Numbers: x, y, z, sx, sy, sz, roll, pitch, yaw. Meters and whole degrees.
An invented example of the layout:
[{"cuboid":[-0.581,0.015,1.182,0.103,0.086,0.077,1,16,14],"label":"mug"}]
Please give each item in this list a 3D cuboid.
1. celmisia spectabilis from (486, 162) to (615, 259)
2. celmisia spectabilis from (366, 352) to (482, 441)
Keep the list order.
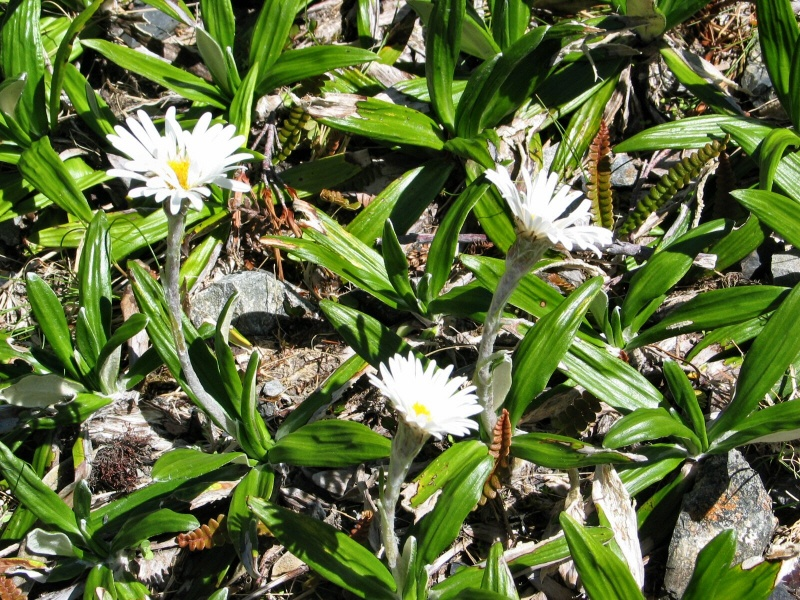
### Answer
[{"cuboid":[0.455,-0.237,2.303,0.347,0.141,0.401,15,43,-31],"label":"celmisia spectabilis"},{"cuboid":[0.079,0.218,2.233,0.200,0.335,0.270,8,20,13],"label":"celmisia spectabilis"}]
